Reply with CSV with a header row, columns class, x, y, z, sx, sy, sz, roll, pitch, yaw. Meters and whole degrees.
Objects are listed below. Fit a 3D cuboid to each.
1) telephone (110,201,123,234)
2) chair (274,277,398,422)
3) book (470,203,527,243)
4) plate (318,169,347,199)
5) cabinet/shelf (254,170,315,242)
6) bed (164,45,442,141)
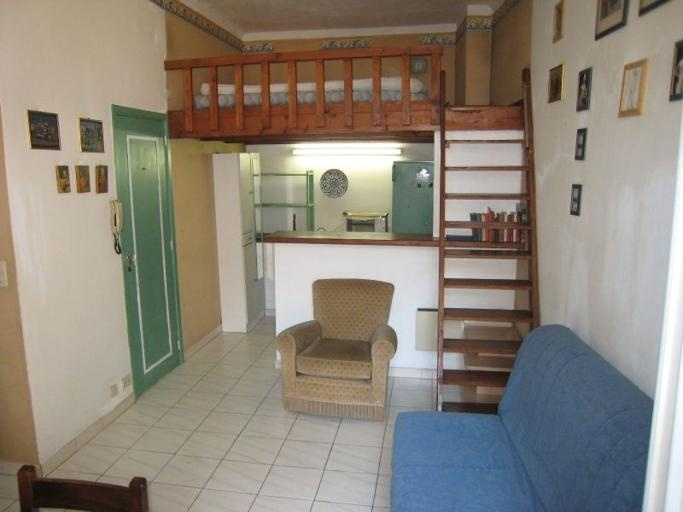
class,x,y,z,sx,sy,sz,roll,pitch,yaw
telephone,-1.918,-0.338,4.553,0.089,0.280,0.059,-6,11,-31
chair,-0.010,0.817,4.719,1.131,1.226,1.124,0,-2,11
book,1.413,-0.291,4.798,0.494,0.341,0.495,2,10,13
plate,-0.109,-1.043,7.718,0.369,0.389,0.087,4,9,12
cabinet/shelf,-0.786,-0.705,7.248,1.072,1.079,0.373,0,4,5
bed,-0.262,-1.886,6.138,2.748,1.113,2.572,1,9,10
